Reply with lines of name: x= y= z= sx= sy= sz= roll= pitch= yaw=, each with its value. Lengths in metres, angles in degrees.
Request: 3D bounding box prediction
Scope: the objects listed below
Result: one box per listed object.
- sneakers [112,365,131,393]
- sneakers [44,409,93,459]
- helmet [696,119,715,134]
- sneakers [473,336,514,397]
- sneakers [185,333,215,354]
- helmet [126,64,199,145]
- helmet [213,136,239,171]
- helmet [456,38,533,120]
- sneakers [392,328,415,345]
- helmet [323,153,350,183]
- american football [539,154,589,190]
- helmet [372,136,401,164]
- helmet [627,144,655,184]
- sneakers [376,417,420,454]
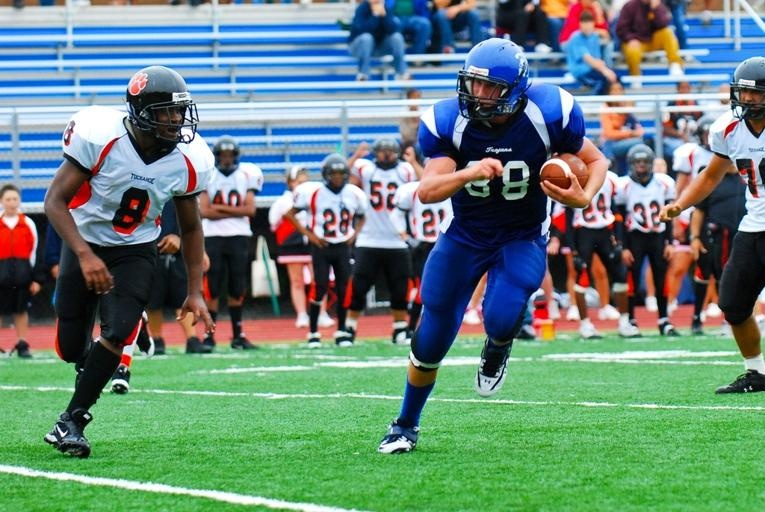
sneakers: x=-2.025 y=0.946 z=7.194 sx=0.133 sy=0.220 sz=0.212 roll=-1 pitch=3 yaw=-19
sneakers: x=-1.743 y=0.986 z=5.157 sx=0.245 sy=0.264 sz=0.174 roll=0 pitch=3 yaw=-11
helmet: x=3.644 y=-1.495 z=10.583 sx=0.178 sy=0.209 sz=0.430 roll=1 pitch=3 yaw=18
sneakers: x=0.639 y=0.662 z=5.524 sx=0.134 sy=0.454 sz=0.193 roll=13 pitch=22 yaw=15
sneakers: x=-2.025 y=0.973 z=10.282 sx=0.269 sy=0.202 sz=0.146 roll=0 pitch=3 yaw=-12
helmet: x=-1.268 y=-0.917 z=5.411 sx=0.468 sy=0.421 sz=0.347 roll=27 pitch=26 yaw=36
helmet: x=-1.770 y=-1.147 z=10.543 sx=0.260 sy=0.416 sz=0.331 roll=0 pitch=3 yaw=-11
helmet: x=0.625 y=-0.998 z=5.249 sx=0.413 sy=0.483 sz=0.254 roll=0 pitch=3 yaw=2
sneakers: x=0.242 y=0.949 z=10.954 sx=0.171 sy=0.263 sz=0.546 roll=0 pitch=-8 yaw=-3
helmet: x=-0.550 y=-1.034 z=10.871 sx=0.252 sy=0.283 sz=0.314 roll=3 pitch=46 yaw=-18
american football: x=1.007 y=-0.471 z=5.198 sx=0.214 sy=0.190 sz=0.176 roll=0 pitch=-5 yaw=-15
helmet: x=0.051 y=-1.269 z=11.132 sx=0.245 sy=0.308 sz=0.325 roll=0 pitch=-5 yaw=0
helmet: x=3.046 y=-1.090 z=11.043 sx=0.306 sy=0.478 sz=0.297 roll=1 pitch=3 yaw=15
sneakers: x=0.096 y=1.004 z=5.216 sx=0.280 sy=0.169 sz=0.185 roll=-1 pitch=3 yaw=-21
